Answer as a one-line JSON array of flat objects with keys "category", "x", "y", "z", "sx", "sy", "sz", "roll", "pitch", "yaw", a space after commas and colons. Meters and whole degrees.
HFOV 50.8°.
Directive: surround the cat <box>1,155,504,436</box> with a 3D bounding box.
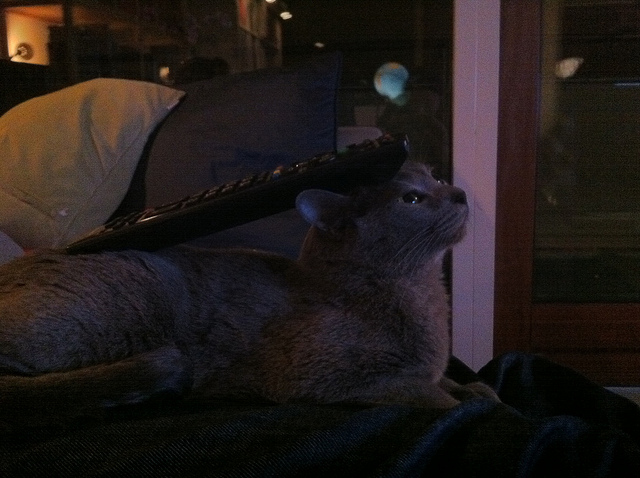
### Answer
[{"category": "cat", "x": -0.087, "y": -0.010, "z": 0.999, "sx": 0.602, "sy": 0.315, "sz": 0.544, "roll": -1, "pitch": 10, "yaw": -13}]
